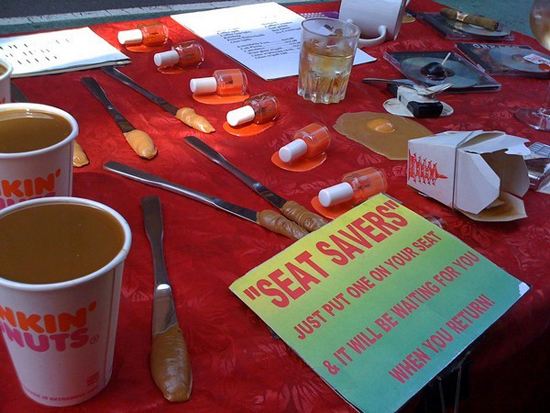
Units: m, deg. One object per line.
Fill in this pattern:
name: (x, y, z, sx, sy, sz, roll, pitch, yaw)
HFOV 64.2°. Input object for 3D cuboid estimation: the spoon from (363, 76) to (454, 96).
spoon: (0.296, -0.260, 0.953, 0.209, 0.035, 0.045, 5, 34, 21)

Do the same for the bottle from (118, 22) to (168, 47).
bottle: (-0.306, -0.394, 1.020, 0.106, 0.052, 0.055, -13, 17, -30)

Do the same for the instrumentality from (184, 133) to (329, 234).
instrumentality: (-0.050, -0.023, 0.712, 0.080, 0.036, 0.345, -30, 44, -27)

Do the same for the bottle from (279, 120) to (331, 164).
bottle: (0.049, -0.104, 0.758, 0.057, 0.053, 0.099, 2, 24, 43)

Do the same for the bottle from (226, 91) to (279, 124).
bottle: (-0.045, -0.186, 0.856, 0.095, 0.051, 0.053, -21, 45, -37)

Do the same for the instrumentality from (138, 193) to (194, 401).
instrumentality: (-0.129, 0.088, 0.497, 0.037, 0.020, 0.242, -8, 56, -14)

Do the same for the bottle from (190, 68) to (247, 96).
bottle: (-0.110, -0.246, 0.883, 0.110, 0.050, 0.053, -3, 20, -24)

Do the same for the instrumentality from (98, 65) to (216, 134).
instrumentality: (-0.232, -0.201, 0.848, 0.289, 0.021, 0.045, 34, 46, 26)

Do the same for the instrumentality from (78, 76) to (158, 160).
instrumentality: (-0.327, -0.220, 0.861, 0.069, 0.033, 0.443, -24, 43, -20)

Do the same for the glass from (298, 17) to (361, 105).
glass: (0.107, -0.297, 0.926, 0.159, 0.139, 0.151, 13, 28, 7)

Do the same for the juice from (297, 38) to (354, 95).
juice: (0.083, -0.296, 0.925, 0.108, 0.113, 0.101, -19, 48, -23)

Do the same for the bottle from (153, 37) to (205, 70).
bottle: (-0.217, -0.331, 0.972, 0.056, 0.050, 0.113, 33, 40, 25)

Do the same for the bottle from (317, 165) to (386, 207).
bottle: (0.125, -0.029, 0.662, 0.112, 0.047, 0.045, -8, 62, -39)

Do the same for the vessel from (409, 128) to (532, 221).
vessel: (0.287, -0.062, 0.700, 0.117, 0.108, 0.178, -28, 39, -28)
